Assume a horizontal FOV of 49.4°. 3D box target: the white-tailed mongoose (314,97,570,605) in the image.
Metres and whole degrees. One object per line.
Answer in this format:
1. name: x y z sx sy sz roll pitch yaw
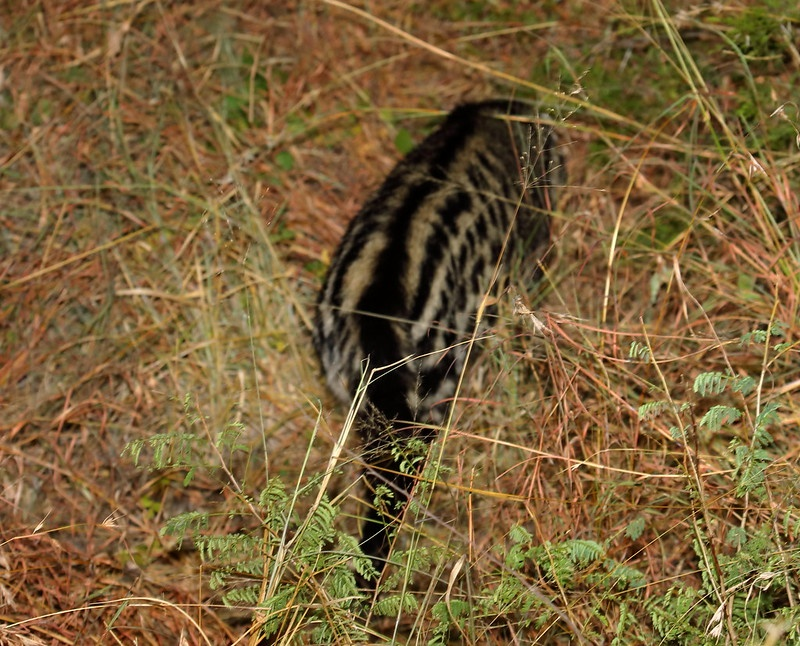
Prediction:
1. white-tailed mongoose: 0.169 0.167 3.812 0.441 1.016 2.036 17 80 36
